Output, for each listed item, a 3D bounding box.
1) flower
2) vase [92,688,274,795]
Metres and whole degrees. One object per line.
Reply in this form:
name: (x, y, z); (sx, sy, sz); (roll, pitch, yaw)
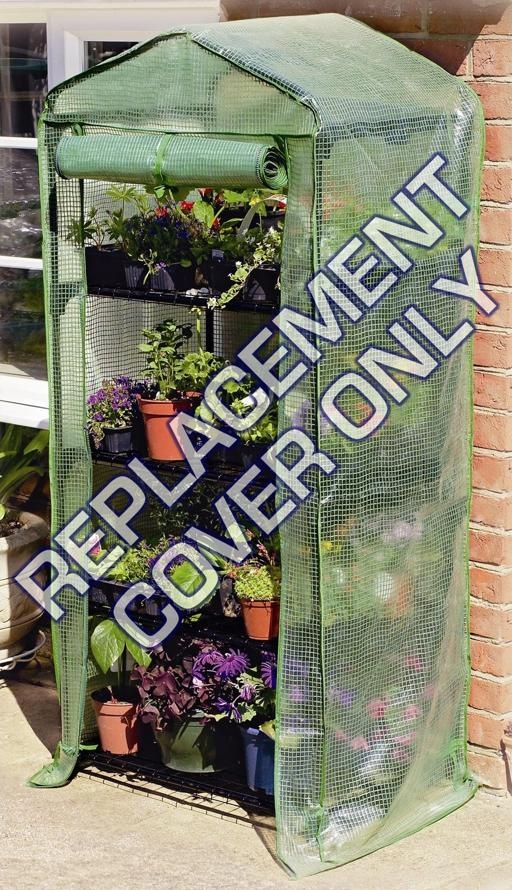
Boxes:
flower: (-0.018, 0.033, 2.267); (0.844, 1.446, 0.488); (6, 10, 40)
vase: (-0.191, 0.812, 2.467); (0.426, 0.134, 0.304); (-1, -4, 37)
